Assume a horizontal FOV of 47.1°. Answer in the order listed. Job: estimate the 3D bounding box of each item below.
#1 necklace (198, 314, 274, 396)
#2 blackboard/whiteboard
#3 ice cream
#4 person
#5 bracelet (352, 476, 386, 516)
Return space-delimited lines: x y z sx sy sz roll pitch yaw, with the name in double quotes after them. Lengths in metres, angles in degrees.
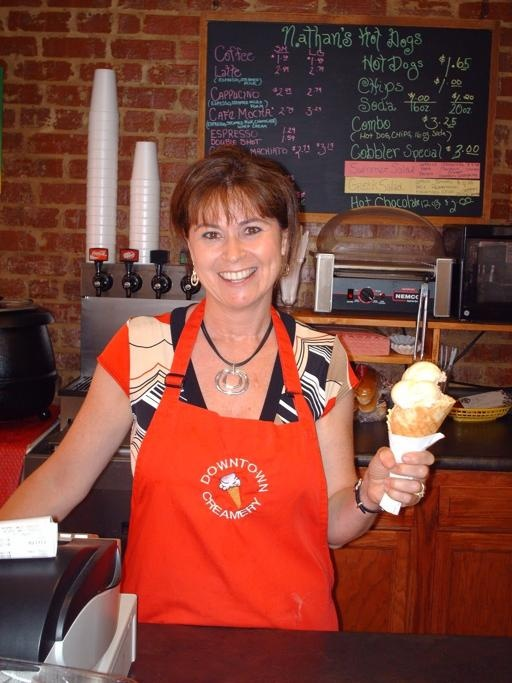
-0.039 0.022 1.111 0.112 0.012 0.179 9 51 -3 "necklace"
0.339 -0.845 2.114 1.176 0.750 0.045 1 6 -3 "blackboard/whiteboard"
0.218 0.090 0.776 0.078 0.121 0.066 -4 16 8 "ice cream"
-0.078 0.068 1.026 0.578 0.824 0.450 1 9 4 "person"
0.179 0.246 0.946 0.048 0.058 0.022 2 0 38 "bracelet"
